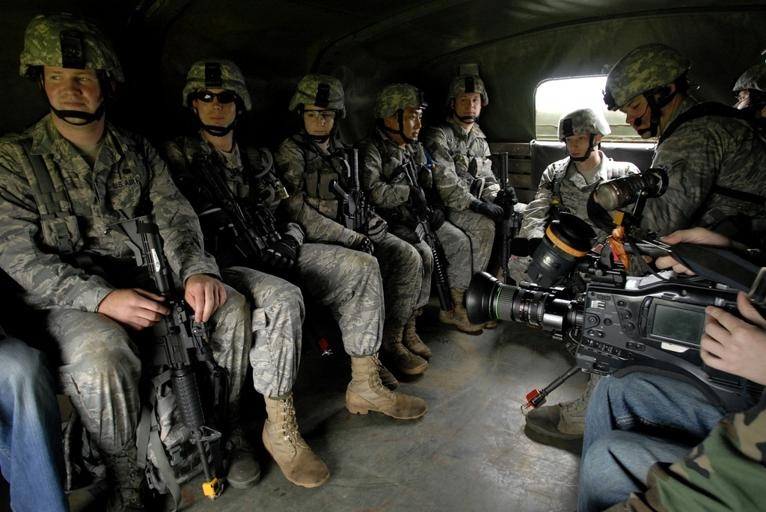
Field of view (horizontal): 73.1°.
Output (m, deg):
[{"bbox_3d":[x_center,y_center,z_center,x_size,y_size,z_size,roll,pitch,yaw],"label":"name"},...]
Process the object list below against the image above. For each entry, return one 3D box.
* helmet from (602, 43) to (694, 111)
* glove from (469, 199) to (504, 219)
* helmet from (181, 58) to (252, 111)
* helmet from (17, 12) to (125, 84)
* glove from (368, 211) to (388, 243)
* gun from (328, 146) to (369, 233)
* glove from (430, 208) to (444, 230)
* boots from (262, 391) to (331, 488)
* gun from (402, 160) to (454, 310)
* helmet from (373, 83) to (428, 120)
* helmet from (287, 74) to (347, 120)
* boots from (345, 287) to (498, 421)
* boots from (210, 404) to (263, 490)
[{"bbox_3d":[1.601,-1.103,3.271,0.515,0.261,0.368,-19,6,34],"label":"helmet"},{"bbox_3d":[1.010,-0.465,5.002,0.298,0.159,0.080,23,55,8],"label":"glove"},{"bbox_3d":[-1.144,-1.223,3.551,0.406,0.213,0.373,0,0,-5],"label":"helmet"},{"bbox_3d":[-1.662,-1.146,2.874,0.360,0.326,0.470,18,22,38],"label":"helmet"},{"bbox_3d":[-0.042,-0.232,4.157,0.193,0.219,0.092,1,-2,-16],"label":"glove"},{"bbox_3d":[-0.288,-0.619,4.143,0.131,0.291,0.575,-24,32,15],"label":"gun"},{"bbox_3d":[0.485,-0.341,4.768,0.158,0.185,0.074,11,-16,-20],"label":"glove"},{"bbox_3d":[-0.512,1.051,2.989,0.444,0.454,0.209,7,13,30],"label":"boots"},{"bbox_3d":[0.391,-0.185,4.600,0.210,1.475,0.476,-5,-20,-9],"label":"gun"},{"bbox_3d":[0.140,-1.401,4.759,0.398,0.217,0.342,-1,13,11],"label":"helmet"},{"bbox_3d":[-0.505,-1.276,4.068,0.403,0.214,0.371,5,12,-11],"label":"helmet"},{"bbox_3d":[0.163,0.671,3.618,0.647,0.525,0.857,1,13,15],"label":"boots"},{"bbox_3d":[-0.870,1.132,3.026,0.195,0.215,0.550,-3,6,-20],"label":"boots"}]
